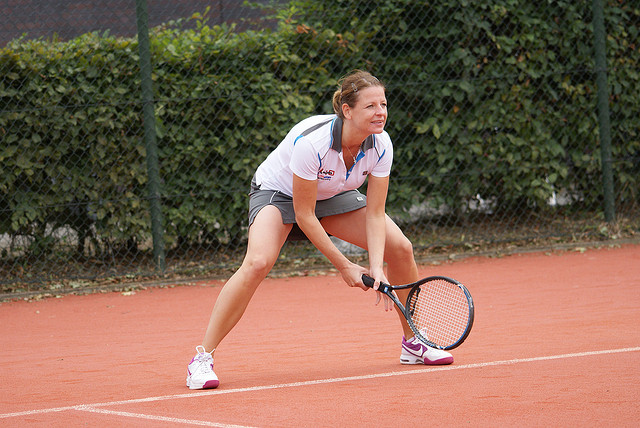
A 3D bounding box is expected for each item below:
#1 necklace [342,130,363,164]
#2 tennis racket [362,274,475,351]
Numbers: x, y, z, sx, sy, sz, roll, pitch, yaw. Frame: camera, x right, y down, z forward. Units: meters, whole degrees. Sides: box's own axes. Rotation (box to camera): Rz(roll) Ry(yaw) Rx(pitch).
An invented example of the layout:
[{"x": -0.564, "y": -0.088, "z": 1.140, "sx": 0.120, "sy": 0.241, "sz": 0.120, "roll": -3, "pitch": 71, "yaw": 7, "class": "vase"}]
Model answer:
[{"x": 0.269, "y": -0.545, "z": 6.126, "sx": 0.185, "sy": 0.240, "sz": 0.081, "roll": -5, "pitch": -1, "yaw": -27, "class": "necklace"}, {"x": 0.901, "y": 0.830, "z": 6.008, "sx": 0.742, "sy": 0.633, "sz": 0.410, "roll": -7, "pitch": -1, "yaw": 11, "class": "tennis racket"}]
